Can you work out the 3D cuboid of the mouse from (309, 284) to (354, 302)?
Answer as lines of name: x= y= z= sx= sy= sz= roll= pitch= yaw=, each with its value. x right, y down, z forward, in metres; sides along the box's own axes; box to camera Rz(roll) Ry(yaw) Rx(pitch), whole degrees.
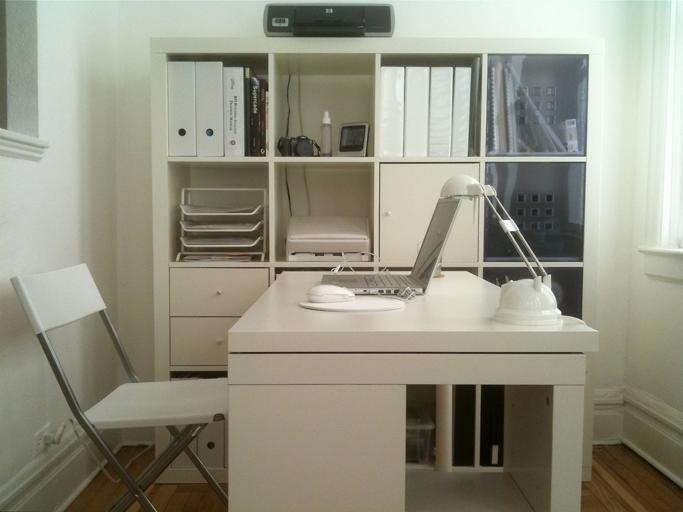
mouse: x=-0.042 y=0.125 z=2.132 sx=0.114 sy=0.044 sz=0.072 roll=0 pitch=3 yaw=-14

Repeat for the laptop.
laptop: x=0.248 y=-0.019 z=2.395 sx=0.433 sy=0.343 sz=0.423 roll=2 pitch=6 yaw=4

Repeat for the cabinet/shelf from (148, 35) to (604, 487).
cabinet/shelf: x=0.161 y=0.019 z=3.051 sx=2.173 sy=2.310 sz=0.593 roll=1 pitch=14 yaw=3
